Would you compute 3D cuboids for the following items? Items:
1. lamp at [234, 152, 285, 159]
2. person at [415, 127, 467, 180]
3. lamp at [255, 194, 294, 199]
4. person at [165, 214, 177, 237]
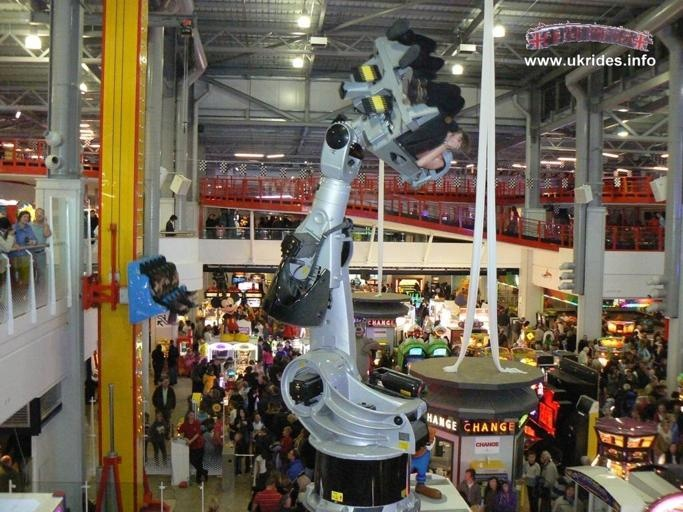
[{"bbox_3d":[-4.829,-6.123,40.640,2.912,0.330,0.319,-3,37,2],"label":"lamp"},{"bbox_3d":[1.257,-1.342,8.437,0.417,0.371,0.980,27,40,19],"label":"person"},{"bbox_3d":[-2.644,-2.434,27.396,1.287,0.236,0.349,2,3,-3],"label":"lamp"},{"bbox_3d":[-5.313,-0.986,21.095,0.305,0.628,1.645,2,3,-14],"label":"person"}]
